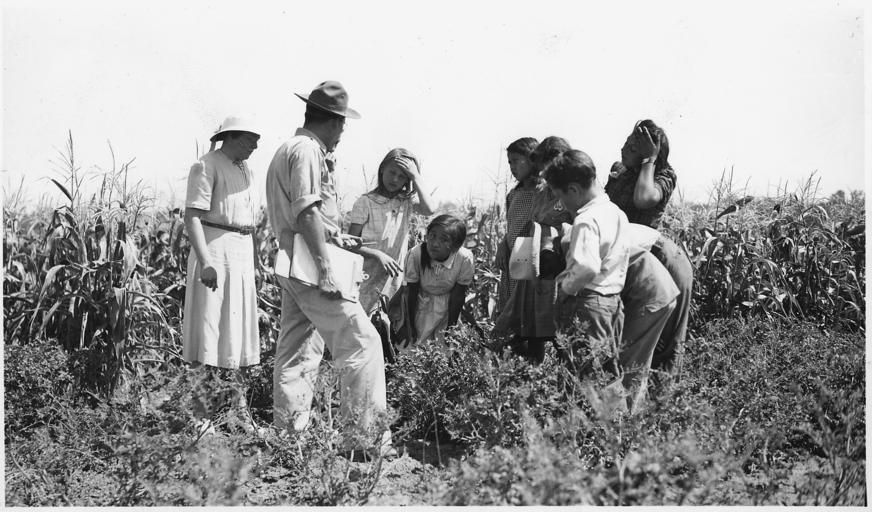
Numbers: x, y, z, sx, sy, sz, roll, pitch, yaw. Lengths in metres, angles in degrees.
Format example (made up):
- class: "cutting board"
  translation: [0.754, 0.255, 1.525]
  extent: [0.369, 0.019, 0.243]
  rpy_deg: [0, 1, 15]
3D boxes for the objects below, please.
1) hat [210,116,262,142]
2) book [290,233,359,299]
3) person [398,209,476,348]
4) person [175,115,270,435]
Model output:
- class: "hat"
  translation: [-1.610, -1.012, 5.088]
  extent: [0.467, 0.173, 0.278]
  rpy_deg: [1, 1, 29]
- class: "book"
  translation: [-0.796, 0.084, 4.726]
  extent: [0.525, 0.437, 0.128]
  rpy_deg: [0, 0, -13]
- class: "person"
  translation: [-0.019, 0.403, 5.880]
  extent: [0.627, 1.641, 0.556]
  rpy_deg: [8, 14, -2]
- class: "person"
  translation: [-1.707, -0.073, 5.164]
  extent: [0.584, 1.959, 0.386]
  rpy_deg: [0, 0, -23]
